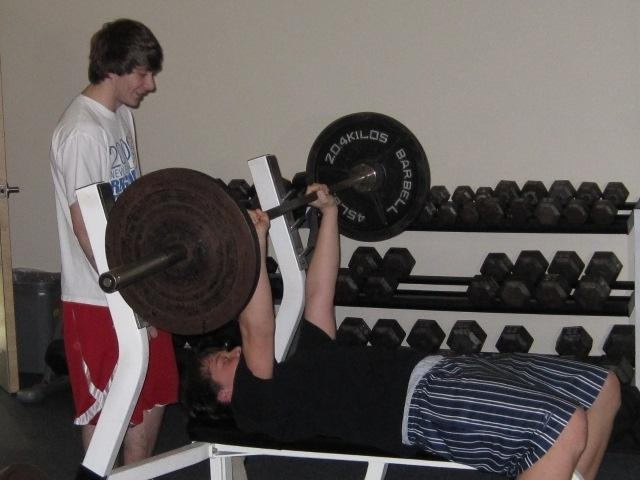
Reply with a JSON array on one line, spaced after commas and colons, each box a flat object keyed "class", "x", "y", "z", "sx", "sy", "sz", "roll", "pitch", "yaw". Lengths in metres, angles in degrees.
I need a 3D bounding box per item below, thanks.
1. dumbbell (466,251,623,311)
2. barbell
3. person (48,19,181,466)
[{"class": "dumbbell", "x": 1.137, "y": 0.206, "z": 3.132, "sx": 0.611, "sy": 0.329, "sz": 0.284, "roll": 9, "pitch": 14, "yaw": 22}, {"class": "barbell", "x": -0.088, "y": -0.141, "z": 2.269, "sx": 0.566, "sy": 0.778, "sz": 1.635, "roll": 1, "pitch": 3, "yaw": 25}, {"class": "person", "x": -0.725, "y": 0.200, "z": 2.486, "sx": 0.507, "sy": 1.980, "sz": 0.554, "roll": 4, "pitch": 14, "yaw": 5}]
